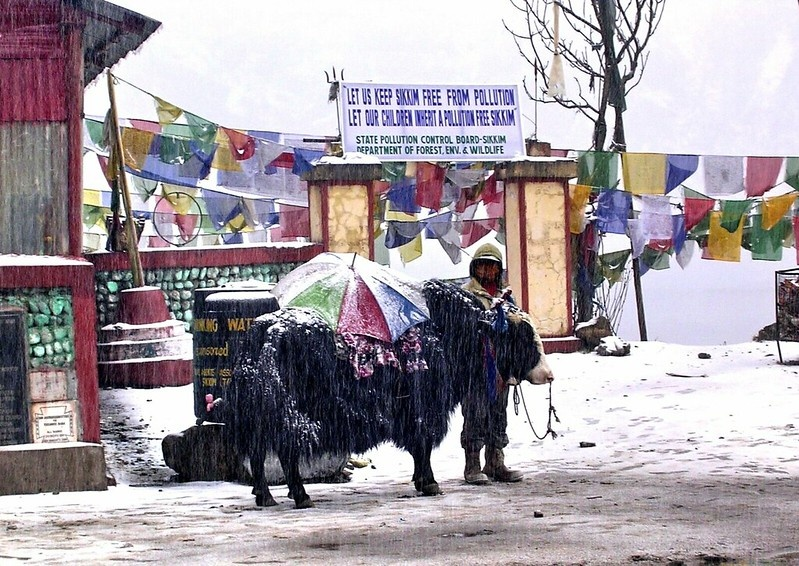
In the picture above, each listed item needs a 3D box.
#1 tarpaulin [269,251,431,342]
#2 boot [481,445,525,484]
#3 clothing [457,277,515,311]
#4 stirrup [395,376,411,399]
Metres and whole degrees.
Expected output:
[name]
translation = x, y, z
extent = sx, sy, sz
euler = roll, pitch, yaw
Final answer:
[tarpaulin]
translation = -0.454, 0.123, 18.923
extent = 1.200, 0.655, 1.242
euler = -19, 52, -39
[boot]
translation = 1.218, 2.246, 19.692
extent = 0.575, 0.508, 0.246
euler = -1, -1, 18
[clothing]
translation = 1.012, 0.152, 19.935
extent = 0.594, 0.370, 0.461
euler = 35, 11, 28
[stirrup]
translation = 0.036, 1.217, 18.744
extent = 0.165, 0.265, 0.052
euler = 5, -1, -34
